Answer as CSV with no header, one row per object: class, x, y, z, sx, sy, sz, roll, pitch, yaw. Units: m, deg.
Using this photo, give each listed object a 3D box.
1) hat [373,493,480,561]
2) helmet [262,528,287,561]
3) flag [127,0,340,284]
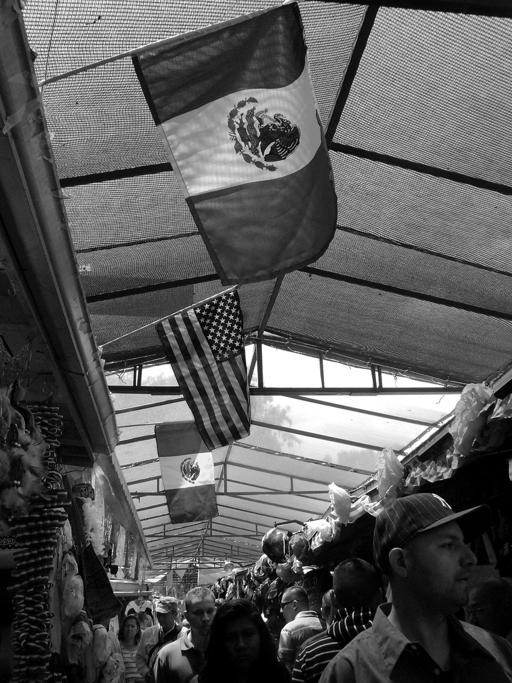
hat,0.435,0.471,1.808,0.282,0.144,0.170,-25,-15,7
helmet,0.306,3.304,10.686,0.380,0.492,0.503,-3,-22,31
flag,-0.117,-1.128,3.543,1.164,1.471,0.144,-19,24,-2
